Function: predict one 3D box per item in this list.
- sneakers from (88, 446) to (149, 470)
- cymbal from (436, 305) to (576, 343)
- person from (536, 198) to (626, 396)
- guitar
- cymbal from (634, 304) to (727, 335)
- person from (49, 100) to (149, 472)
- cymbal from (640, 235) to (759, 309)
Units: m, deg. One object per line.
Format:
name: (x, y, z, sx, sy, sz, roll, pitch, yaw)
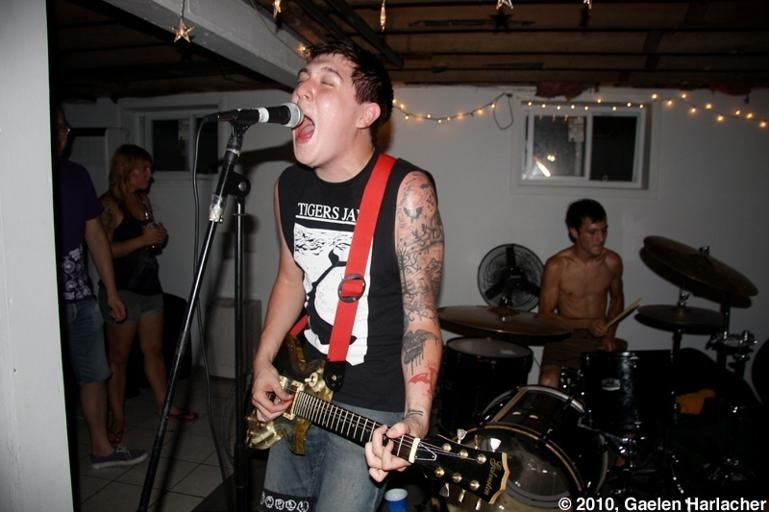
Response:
sneakers: (-2.077, 1.595, 4.421, 0.404, 0.142, 0.153, 0, -6, -17)
cymbal: (0.972, 0.548, 4.526, 0.599, 0.120, 0.596, 3, 5, 20)
person: (1.785, 0.283, 5.075, 0.720, 1.590, 1.176, 7, 6, 29)
guitar: (-0.086, 0.765, 2.687, 1.334, 0.553, 0.274, 7, 6, 29)
cymbal: (2.625, 0.562, 5.038, 0.645, 0.274, 0.608, 6, 5, 25)
person: (-2.158, 0.484, 4.223, 0.563, 2.354, 0.298, -1, 8, -40)
cymbal: (2.712, 0.145, 4.980, 0.852, 0.587, 1.168, 6, 5, 24)
